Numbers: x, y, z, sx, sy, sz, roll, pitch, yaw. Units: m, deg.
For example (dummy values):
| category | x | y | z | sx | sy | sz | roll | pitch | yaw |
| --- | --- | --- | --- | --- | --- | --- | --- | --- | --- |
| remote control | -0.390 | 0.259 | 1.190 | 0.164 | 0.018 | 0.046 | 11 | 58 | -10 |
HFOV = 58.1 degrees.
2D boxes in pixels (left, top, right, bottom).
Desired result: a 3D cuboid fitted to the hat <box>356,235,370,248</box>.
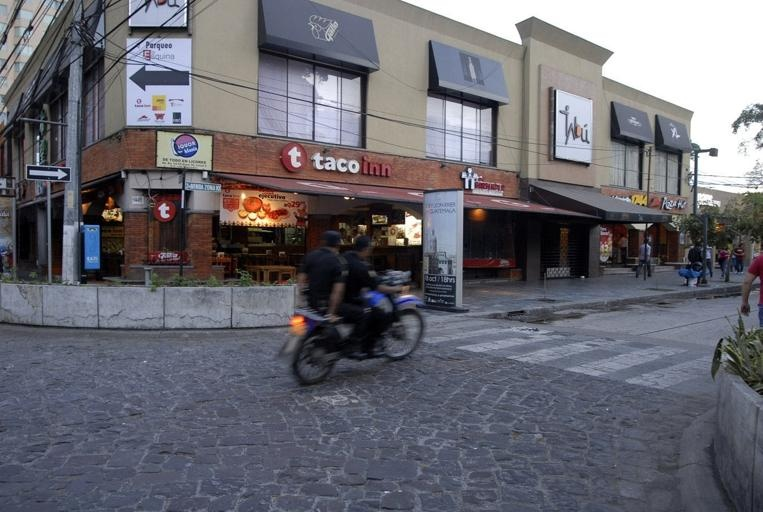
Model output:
| category | x | y | z | sx | sy | sz | roll | pitch | yaw |
| --- | --- | --- | --- | --- | --- | --- | --- | --- | --- |
| hat | -0.377 | -0.277 | 13.675 | 0.207 | 0.264 | 0.267 | -5 | 11 | -30 |

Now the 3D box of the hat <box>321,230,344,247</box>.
| category | x | y | z | sx | sy | sz | roll | pitch | yaw |
| --- | --- | --- | --- | --- | --- | --- | --- | --- | --- |
| hat | -0.976 | -0.376 | 13.430 | 0.272 | 0.350 | 0.335 | 6 | -8 | 36 |

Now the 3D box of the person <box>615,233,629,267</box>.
| category | x | y | z | sx | sy | sz | roll | pitch | yaw |
| --- | --- | --- | --- | --- | --- | --- | --- | --- | --- |
| person | 14.249 | -0.405 | 40.740 | 0.584 | 1.311 | 0.414 | 0 | -1 | -44 |

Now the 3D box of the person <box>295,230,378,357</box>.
| category | x | y | z | sx | sy | sz | roll | pitch | yaw |
| --- | --- | --- | --- | --- | --- | --- | --- | --- | --- |
| person | -0.909 | 0.695 | 13.272 | 1.261 | 2.366 | 0.665 | -1 | -1 | -7 |
